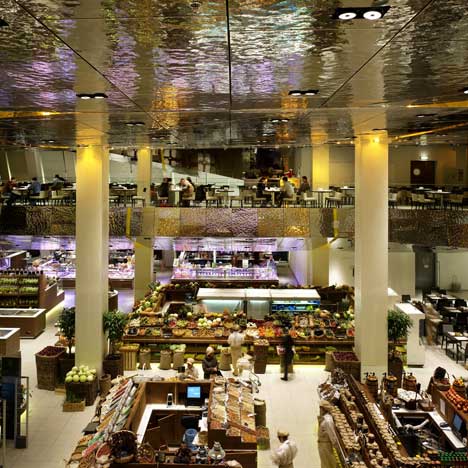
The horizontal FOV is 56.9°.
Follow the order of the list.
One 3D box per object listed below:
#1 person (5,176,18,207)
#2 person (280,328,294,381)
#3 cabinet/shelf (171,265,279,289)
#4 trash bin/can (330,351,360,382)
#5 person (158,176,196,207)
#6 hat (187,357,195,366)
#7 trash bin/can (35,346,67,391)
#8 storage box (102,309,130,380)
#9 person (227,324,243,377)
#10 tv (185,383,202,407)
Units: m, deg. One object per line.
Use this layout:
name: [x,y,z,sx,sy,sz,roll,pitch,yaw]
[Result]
person: [-7.276,-1.377,13.999,0.410,0.936,0.689,7,-9,-28]
person: [1.354,3.139,11.085,0.299,1.137,0.624,2,-8,7]
cabinet/shelf: [-0.282,1.790,18.680,4.254,0.928,1.350,1,-8,8]
trash bin/can: [2.819,3.341,11.001,0.704,0.478,1.165,0,-3,2]
person: [-1.921,-1.429,14.753,1.228,0.741,1.136,1,4,0]
hat: [-0.821,2.505,8.495,0.150,0.164,0.184,1,-6,6]
trash bin/can: [-4.404,3.243,10.334,0.598,0.835,0.915,3,3,-1]
storage box: [-2.938,2.726,10.609,0.639,1.226,0.581,3,-13,-27]
person: [0.013,3.074,11.154,0.369,1.070,0.645,3,-8,0]
tv: [-0.684,2.723,7.304,0.323,0.380,0.337,0,-10,-1]
